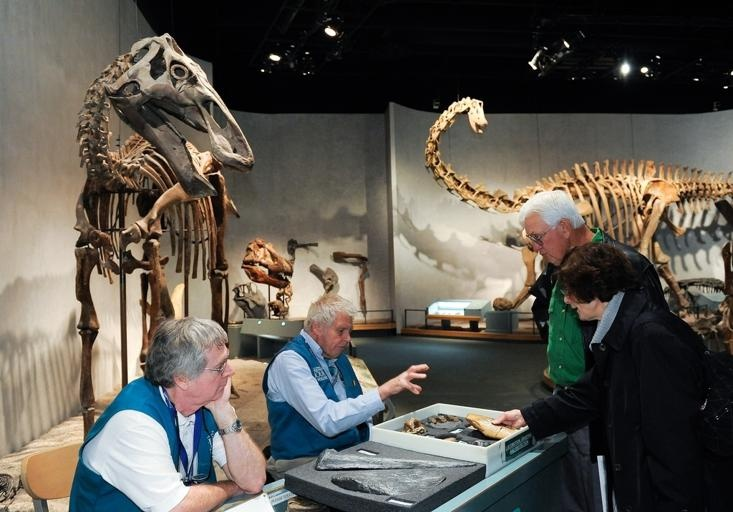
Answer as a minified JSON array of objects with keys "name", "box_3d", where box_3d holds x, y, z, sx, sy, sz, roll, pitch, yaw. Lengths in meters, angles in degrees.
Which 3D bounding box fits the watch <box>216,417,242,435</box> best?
[{"name":"watch","box_3d":[-0.691,0.873,2.763,0.083,0.044,0.082,-23,34,-4]}]
